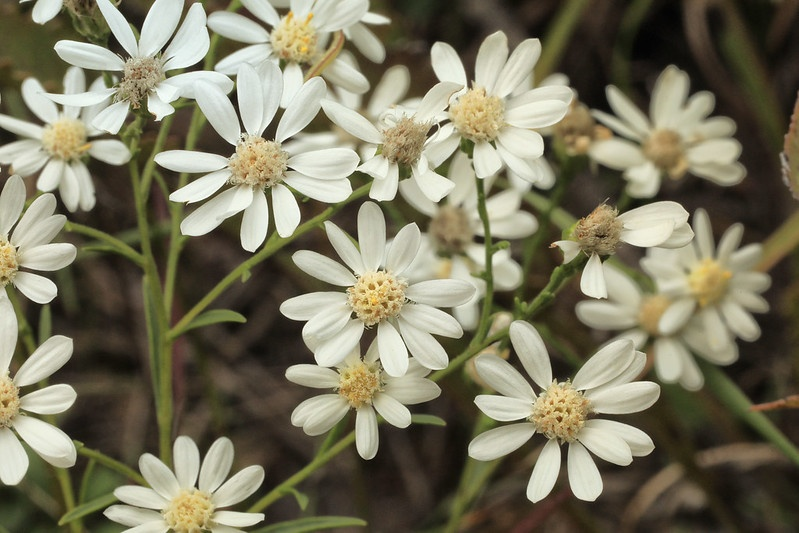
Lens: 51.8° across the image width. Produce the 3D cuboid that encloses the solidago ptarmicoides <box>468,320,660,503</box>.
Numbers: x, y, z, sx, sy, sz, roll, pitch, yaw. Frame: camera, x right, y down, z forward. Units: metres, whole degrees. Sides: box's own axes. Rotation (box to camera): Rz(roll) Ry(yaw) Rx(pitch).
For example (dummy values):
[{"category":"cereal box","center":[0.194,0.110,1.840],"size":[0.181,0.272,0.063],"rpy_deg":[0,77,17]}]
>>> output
[{"category":"solidago ptarmicoides","center":[0.458,0.433,2.321],"size":[0.444,0.131,0.502],"rpy_deg":[-15,101,11]}]

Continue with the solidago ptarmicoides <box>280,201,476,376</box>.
[{"category":"solidago ptarmicoides","center":[-0.059,0.115,2.262],"size":[0.460,0.308,0.448],"rpy_deg":[35,71,26]}]

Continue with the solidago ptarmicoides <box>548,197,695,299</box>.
[{"category":"solidago ptarmicoides","center":[0.619,-0.076,2.277],"size":[0.338,0.107,0.246],"rpy_deg":[-36,61,-11]}]

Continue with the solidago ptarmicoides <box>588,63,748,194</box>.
[{"category":"solidago ptarmicoides","center":[0.926,-0.446,2.754],"size":[0.448,0.174,0.499],"rpy_deg":[-16,86,2]}]
